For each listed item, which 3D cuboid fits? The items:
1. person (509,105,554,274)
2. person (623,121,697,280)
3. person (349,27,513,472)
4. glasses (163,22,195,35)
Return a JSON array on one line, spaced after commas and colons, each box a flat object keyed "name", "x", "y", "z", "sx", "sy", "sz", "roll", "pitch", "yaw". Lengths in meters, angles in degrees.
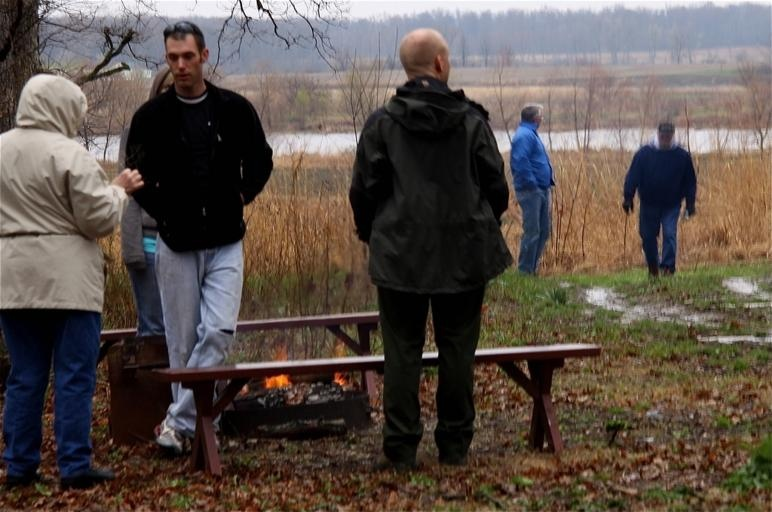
[{"name": "person", "x": 1.987, "y": -0.942, "z": 15.609, "sx": 0.609, "sy": 2.241, "sz": 0.761, "roll": 6, "pitch": 14, "yaw": 36}, {"name": "person", "x": 3.804, "y": -0.791, "z": 15.657, "sx": 0.846, "sy": 2.304, "sz": 0.691, "roll": 2, "pitch": 24, "yaw": 14}, {"name": "person", "x": 0.372, "y": -0.043, "z": 9.646, "sx": 1.294, "sy": 3.600, "sz": 0.740, "roll": -2, "pitch": 11, "yaw": -3}, {"name": "glasses", "x": -1.812, "y": -1.997, "z": 9.917, "sx": 0.292, "sy": 0.119, "sz": 0.122, "roll": -4, "pitch": 13, "yaw": -7}]
